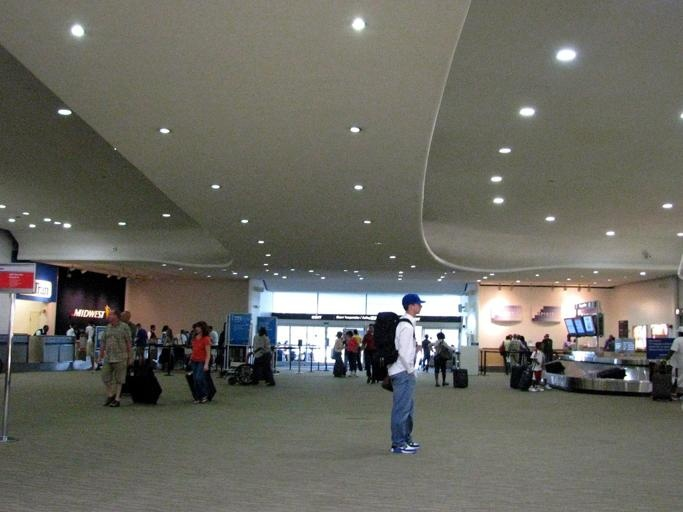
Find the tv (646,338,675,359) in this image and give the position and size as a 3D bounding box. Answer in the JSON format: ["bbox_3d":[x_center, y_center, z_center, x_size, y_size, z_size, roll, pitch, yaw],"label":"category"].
[{"bbox_3d":[8.932,2.584,15.146,0.091,0.647,0.702,5,-6,-36],"label":"tv"}]

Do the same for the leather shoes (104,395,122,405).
[{"bbox_3d":[-4.523,2.851,10.706,0.167,0.130,0.309,4,1,-13],"label":"leather shoes"}]

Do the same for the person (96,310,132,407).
[{"bbox_3d":[-4.500,2.016,10.837,0.533,1.857,0.644,9,-11,-44],"label":"person"}]

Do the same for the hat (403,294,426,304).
[{"bbox_3d":[0.938,0.562,7.063,0.258,0.147,0.188,-11,0,-3],"label":"hat"}]

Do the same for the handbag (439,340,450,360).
[{"bbox_3d":[3.338,3.064,17.947,0.406,0.823,0.647,0,-5,5],"label":"handbag"}]

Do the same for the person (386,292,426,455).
[{"bbox_3d":[0.791,1.469,6.935,0.415,1.986,0.494,1,-8,8],"label":"person"}]

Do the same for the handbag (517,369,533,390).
[{"bbox_3d":[5.661,3.775,16.691,0.276,0.537,0.390,18,-37,11],"label":"handbag"}]
